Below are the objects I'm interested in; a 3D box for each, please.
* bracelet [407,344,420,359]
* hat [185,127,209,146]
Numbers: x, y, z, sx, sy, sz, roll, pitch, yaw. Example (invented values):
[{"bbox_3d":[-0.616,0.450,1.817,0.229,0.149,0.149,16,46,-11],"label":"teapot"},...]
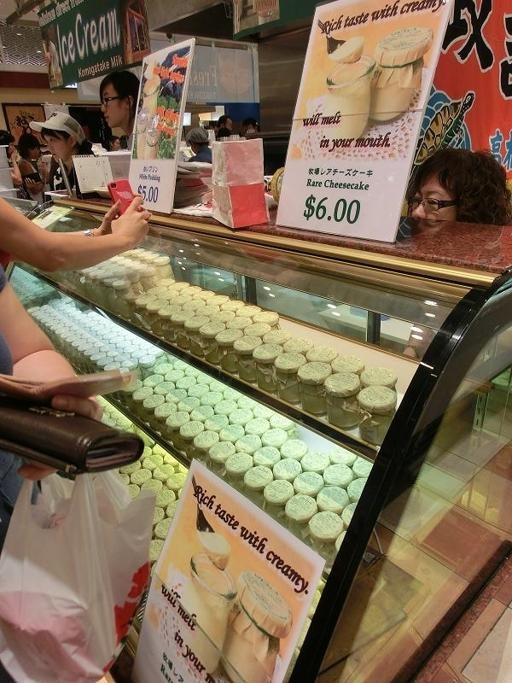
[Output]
[{"bbox_3d":[0.265,0.014,0.744,0.014,0.012,0.024,6,-12,29],"label":"bracelet"},{"bbox_3d":[-0.658,-2.441,5.219,0.213,0.194,0.301,-4,30,-14],"label":"hat"}]
